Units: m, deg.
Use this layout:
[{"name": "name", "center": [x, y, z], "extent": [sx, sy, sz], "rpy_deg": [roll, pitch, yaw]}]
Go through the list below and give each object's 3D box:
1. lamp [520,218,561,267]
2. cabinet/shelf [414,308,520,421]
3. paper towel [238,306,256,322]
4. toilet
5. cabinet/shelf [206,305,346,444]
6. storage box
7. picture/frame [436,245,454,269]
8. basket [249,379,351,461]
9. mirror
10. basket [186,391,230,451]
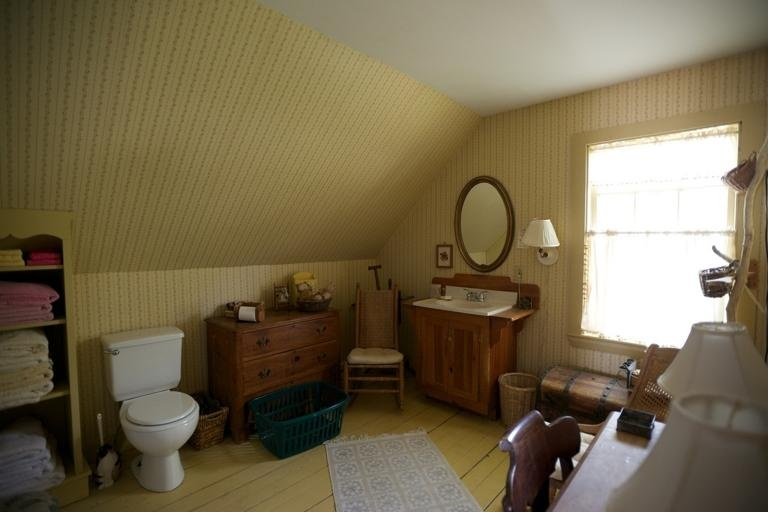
[{"name": "lamp", "center": [1.349, -0.113, 4.565], "extent": [0.362, 0.418, 0.337], "rpy_deg": [3, 6, 25]}, {"name": "cabinet/shelf", "center": [0.780, 0.909, 4.865], "extent": [1.034, 0.987, 0.616], "rpy_deg": [7, 12, 41]}, {"name": "paper towel", "center": [-1.168, 0.506, 4.471], "extent": [0.106, 0.122, 0.169], "rpy_deg": [-5, 7, -44]}, {"name": "toilet", "center": [-1.768, 1.165, 3.996], "extent": [0.612, 1.073, 0.788], "rpy_deg": [-3, 6, -34]}, {"name": "cabinet/shelf", "center": [-0.986, 0.983, 4.834], "extent": [1.089, 0.985, 0.592], "rpy_deg": [-8, 14, -43]}, {"name": "storage box", "center": [1.668, 1.203, 4.278], "extent": [0.670, 0.360, 0.508], "rpy_deg": [9, 13, 37]}, {"name": "picture/frame", "center": [0.625, 0.011, 5.275], "extent": [0.218, 0.273, 0.034], "rpy_deg": [2, 2, 45]}, {"name": "basket", "center": [-0.667, 1.357, 4.373], "extent": [0.479, 0.271, 0.633], "rpy_deg": [8, 11, 41]}, {"name": "mirror", "center": [0.992, -0.310, 4.984], "extent": [0.066, 1.256, 0.823], "rpy_deg": [0, -3, -42]}, {"name": "basket", "center": [-1.434, 1.393, 4.291], "extent": [0.349, 0.265, 0.245], "rpy_deg": [2, 3, 45]}]
